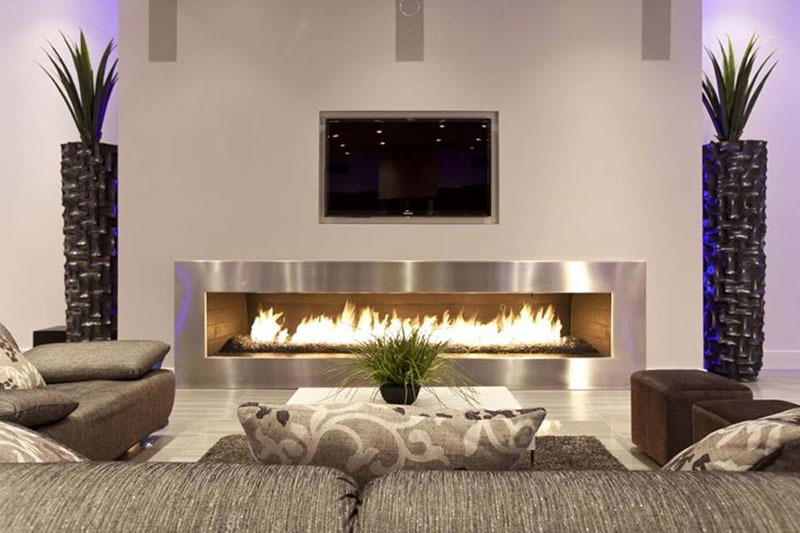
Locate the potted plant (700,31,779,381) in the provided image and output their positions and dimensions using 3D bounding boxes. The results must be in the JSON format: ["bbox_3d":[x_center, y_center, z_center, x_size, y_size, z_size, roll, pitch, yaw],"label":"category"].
[{"bbox_3d":[3.202,-0.582,6.103,0.550,3.304,0.846,1,4,28],"label":"potted plant"}]

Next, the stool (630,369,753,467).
[{"bbox_3d":[1.974,0.934,4.322,0.647,0.591,0.686,0,2,-1],"label":"stool"}]

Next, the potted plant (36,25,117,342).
[{"bbox_3d":[-3.036,-0.860,6.164,0.598,3.075,1.094,-3,4,-29],"label":"potted plant"}]

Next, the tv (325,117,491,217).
[{"bbox_3d":[0.062,-0.927,5.925,1.649,0.961,0.074,-1,11,-6],"label":"tv"}]

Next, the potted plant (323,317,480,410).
[{"bbox_3d":[-0.022,0.690,3.965,0.778,0.419,0.700,5,-14,-29],"label":"potted plant"}]
